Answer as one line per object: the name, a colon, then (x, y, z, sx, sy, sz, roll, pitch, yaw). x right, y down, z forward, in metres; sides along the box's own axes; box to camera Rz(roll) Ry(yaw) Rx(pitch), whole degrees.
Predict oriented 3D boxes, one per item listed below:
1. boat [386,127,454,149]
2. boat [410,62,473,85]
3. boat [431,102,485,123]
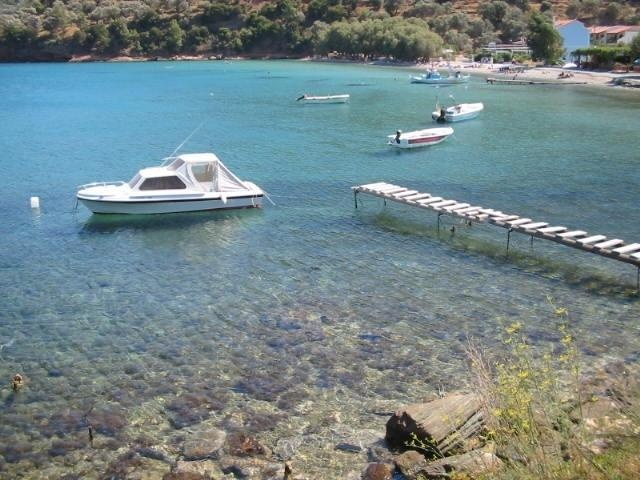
boat: (10.784, -10.357, 65.973, 7.489, 1.564, 2.694, -13, 32, -28)
boat: (25.688, -34.675, 133.583, 11.458, 2.743, 7.012, 3, 17, 16)
boat: (18.414, -16.649, 82.510, 3.173, 2.105, 7.316, 13, 22, 40)
